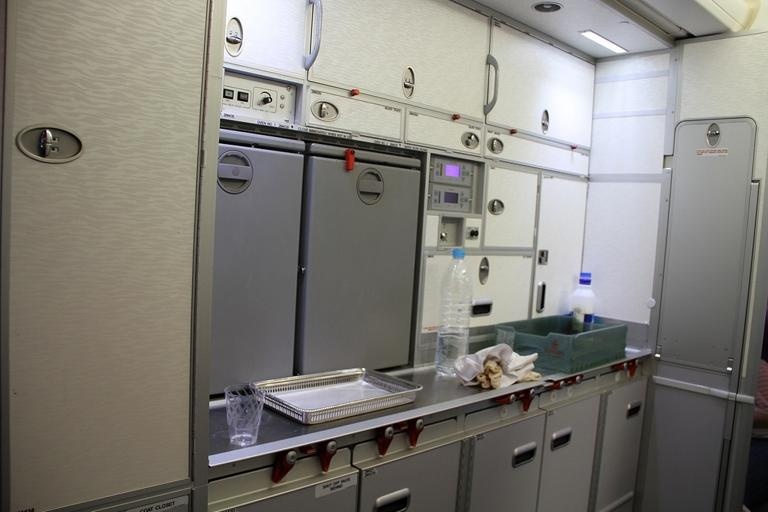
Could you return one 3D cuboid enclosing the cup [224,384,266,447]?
[{"bbox_3d":[-0.516,0.577,1.973,0.125,0.184,0.175,1,1,-17],"label":"cup"}]

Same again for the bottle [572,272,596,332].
[{"bbox_3d":[1.361,0.304,3.648,0.153,0.381,0.294,2,1,20],"label":"bottle"}]
